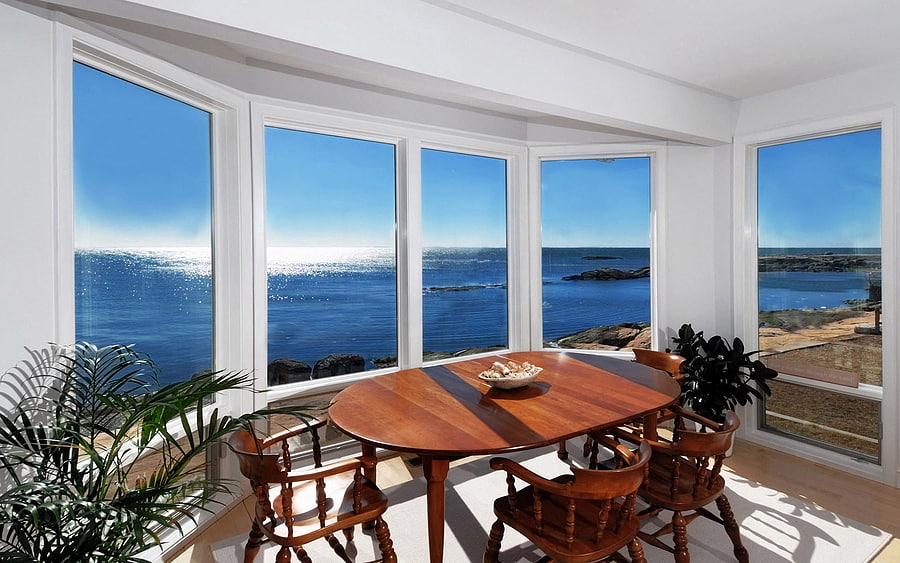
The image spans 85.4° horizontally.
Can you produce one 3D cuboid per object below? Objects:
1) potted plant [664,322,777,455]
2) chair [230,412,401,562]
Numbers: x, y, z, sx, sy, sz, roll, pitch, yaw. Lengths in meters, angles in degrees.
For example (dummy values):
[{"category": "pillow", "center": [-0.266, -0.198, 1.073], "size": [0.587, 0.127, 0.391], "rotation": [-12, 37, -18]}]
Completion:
[{"category": "potted plant", "center": [2.708, 0.950, 4.658], "size": [0.693, 0.586, 0.607], "rotation": [-17, 16, 5]}, {"category": "chair", "center": [-0.912, 1.366, 3.293], "size": [0.974, 1.385, 0.788], "rotation": [-4, 16, -13]}]
